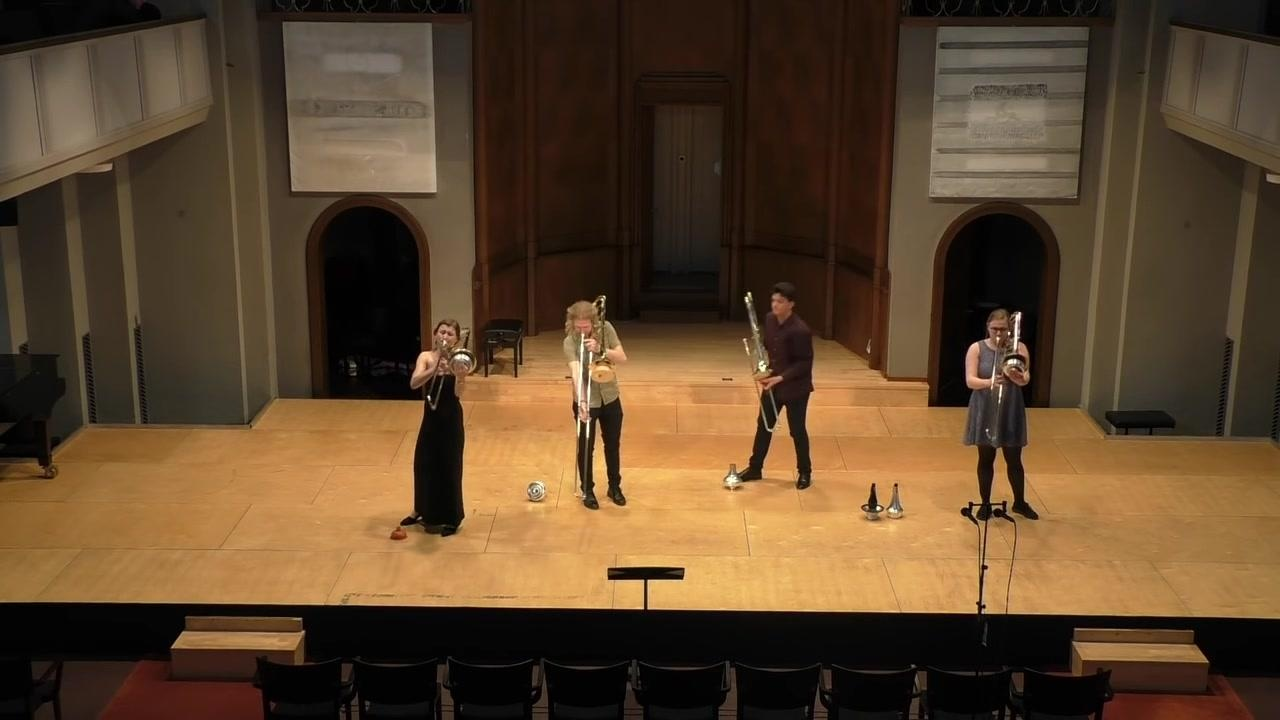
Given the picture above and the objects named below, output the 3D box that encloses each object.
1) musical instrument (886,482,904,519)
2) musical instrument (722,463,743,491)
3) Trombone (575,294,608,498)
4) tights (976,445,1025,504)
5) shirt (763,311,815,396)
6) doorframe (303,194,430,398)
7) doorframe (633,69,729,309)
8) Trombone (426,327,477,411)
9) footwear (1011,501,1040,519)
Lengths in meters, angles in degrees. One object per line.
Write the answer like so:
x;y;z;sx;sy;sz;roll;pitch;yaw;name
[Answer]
2.928;1.597;10.578;0.196;0.362;0.501;3;6;16;musical instrument
1.100;1.429;11.024;0.221;0.275;0.317;0;-1;2;musical instrument
-0.599;0.393;10.146;0.413;2.153;0.394;5;-2;4;Trombone
3.876;1.225;10.059;0.416;0.244;1.307;-8;22;25;tights
1.678;-0.034;10.527;0.535;0.945;0.290;3;6;12;shirt
-4.060;-0.927;13.913;1.757;2.960;1.302;0;6;-12;doorframe
0.705;-3.262;16.434;1.992;0.548;4.406;-8;-37;-4;doorframe
-2.089;0.144;10.251;0.373;1.105;0.538;7;10;-7;Trombone
4.317;1.682;10.344;0.313;0.122;0.160;11;26;37;footwear
